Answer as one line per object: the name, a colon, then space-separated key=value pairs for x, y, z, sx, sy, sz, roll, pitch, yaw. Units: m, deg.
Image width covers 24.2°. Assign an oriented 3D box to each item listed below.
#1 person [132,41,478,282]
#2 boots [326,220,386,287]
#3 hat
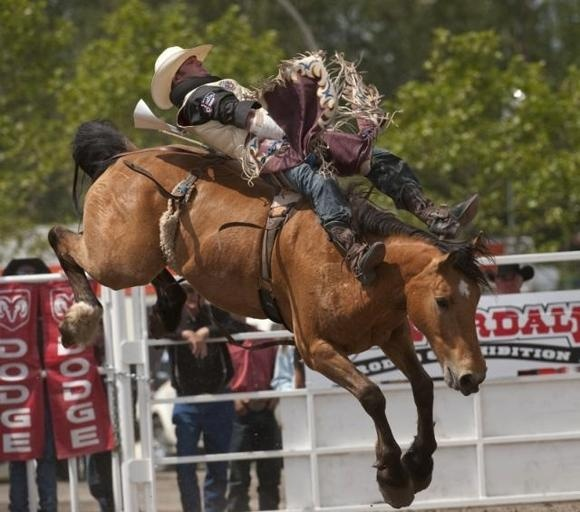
person: x=0.051 y=-0.980 z=10.923 sx=2.807 sy=1.217 sz=1.165 roll=27 pitch=27 yaw=17
boots: x=0.526 y=-0.084 z=10.519 sx=0.391 sy=0.214 sz=0.643 roll=-17 pitch=48 yaw=2
hat: x=-0.968 y=-1.519 z=11.234 sx=0.249 sy=0.516 sz=0.574 roll=40 pitch=92 yaw=12
